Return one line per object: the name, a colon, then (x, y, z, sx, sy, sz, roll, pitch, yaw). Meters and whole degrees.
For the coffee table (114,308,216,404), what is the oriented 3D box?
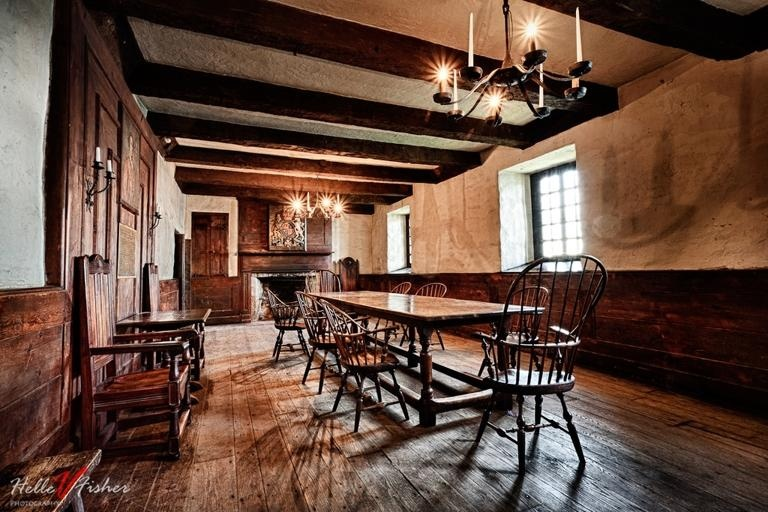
coffee table: (-2.269, 0.987, 4.942, 1.223, 0.549, 0.664, -3, -5, 20)
